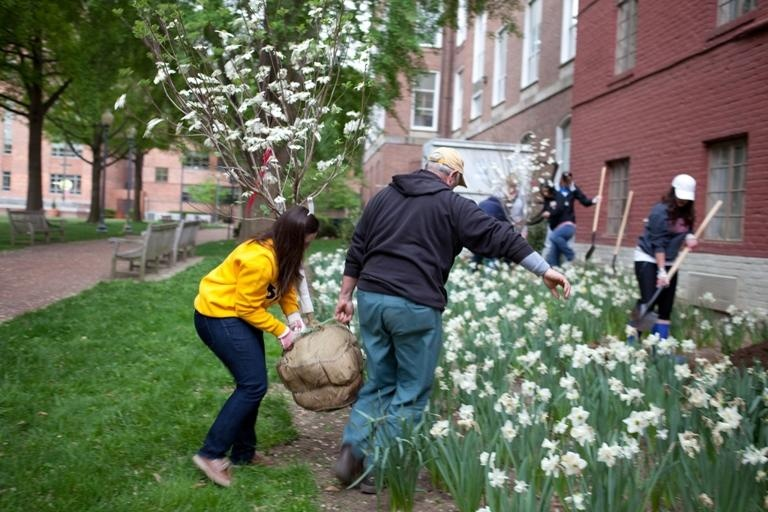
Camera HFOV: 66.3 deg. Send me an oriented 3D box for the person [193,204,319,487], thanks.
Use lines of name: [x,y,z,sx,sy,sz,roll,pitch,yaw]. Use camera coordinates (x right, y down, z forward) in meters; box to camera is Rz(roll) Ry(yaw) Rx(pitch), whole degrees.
person: [-1.183,0.762,5.300,0.996,2.466,0.521,1,5,-19]

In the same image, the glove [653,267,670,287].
glove: [3.368,0.278,7.178,0.089,0.237,0.170,8,-6,-26]

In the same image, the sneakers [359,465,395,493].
sneakers: [-0.079,1.934,4.983,0.153,0.173,0.437,3,-14,-6]

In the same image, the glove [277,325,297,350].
glove: [-0.880,0.767,5.425,0.172,0.158,0.203,21,-13,0]

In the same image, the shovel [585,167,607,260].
shovel: [4.430,-0.846,12.201,0.350,2.073,0.211,14,-5,-34]

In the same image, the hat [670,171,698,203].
hat: [3.677,-0.846,7.283,0.255,0.311,0.224,5,5,25]

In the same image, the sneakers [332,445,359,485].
sneakers: [-0.324,1.850,5.129,0.207,0.358,0.150,5,-5,8]

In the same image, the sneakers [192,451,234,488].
sneakers: [-1.498,1.868,5.134,0.315,0.250,0.224,2,4,-18]
